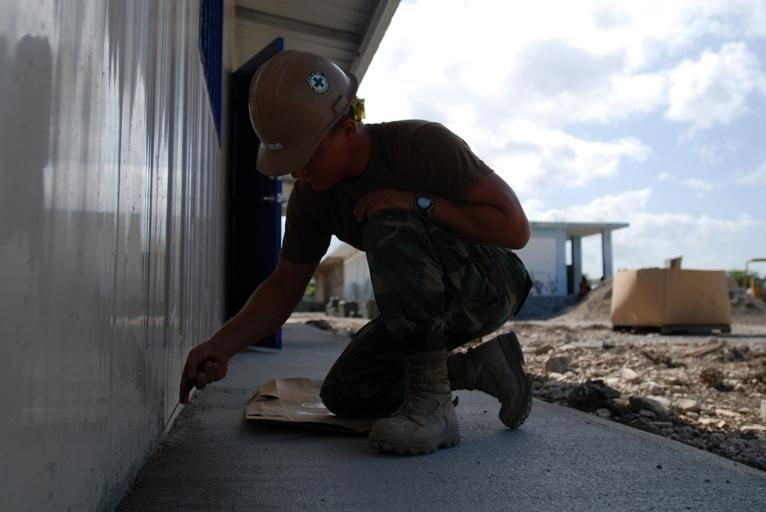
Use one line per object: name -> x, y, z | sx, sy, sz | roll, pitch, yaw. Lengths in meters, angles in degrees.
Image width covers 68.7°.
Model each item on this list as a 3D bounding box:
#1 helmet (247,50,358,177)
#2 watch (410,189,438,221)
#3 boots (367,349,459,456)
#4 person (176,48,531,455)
helmet -> -0.260, -0.466, 1.909 | 0.315, 0.430, 0.229 | 14, -20, 40
watch -> 0.146, -0.176, 1.952 | 0.074, 0.087, 0.025 | 2, 2, -12
boots -> 0.112, 0.459, 1.778 | 0.171, 0.290, 0.302 | 4, 3, 44
person -> -0.088, 0.016, 2.113 | 1.116, 1.390, 0.770 | -2, -4, -19
